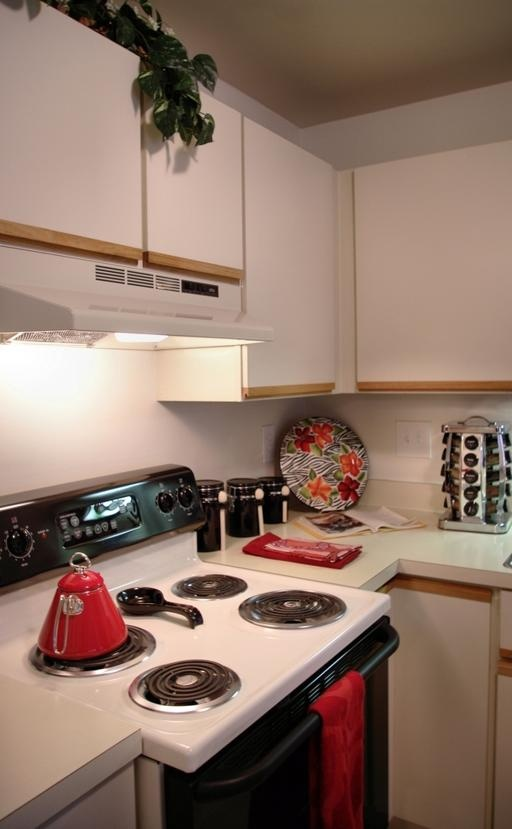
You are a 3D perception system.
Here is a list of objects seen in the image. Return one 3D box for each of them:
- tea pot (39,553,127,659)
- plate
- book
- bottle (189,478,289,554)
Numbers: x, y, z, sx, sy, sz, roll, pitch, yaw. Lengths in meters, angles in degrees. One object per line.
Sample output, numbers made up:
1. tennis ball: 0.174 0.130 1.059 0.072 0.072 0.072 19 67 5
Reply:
1. tea pot: -0.274 0.311 0.969 0.117 0.157 0.159 -1 -6 -12
2. plate: 0.248 0.179 2.094 0.308 0.322 0.044 -22 -8 -28
3. book: 0.306 0.344 1.908 0.398 0.030 0.345 -1 1 -21
4. bottle: -0.031 0.272 1.702 0.192 0.190 0.429 -1 1 13
